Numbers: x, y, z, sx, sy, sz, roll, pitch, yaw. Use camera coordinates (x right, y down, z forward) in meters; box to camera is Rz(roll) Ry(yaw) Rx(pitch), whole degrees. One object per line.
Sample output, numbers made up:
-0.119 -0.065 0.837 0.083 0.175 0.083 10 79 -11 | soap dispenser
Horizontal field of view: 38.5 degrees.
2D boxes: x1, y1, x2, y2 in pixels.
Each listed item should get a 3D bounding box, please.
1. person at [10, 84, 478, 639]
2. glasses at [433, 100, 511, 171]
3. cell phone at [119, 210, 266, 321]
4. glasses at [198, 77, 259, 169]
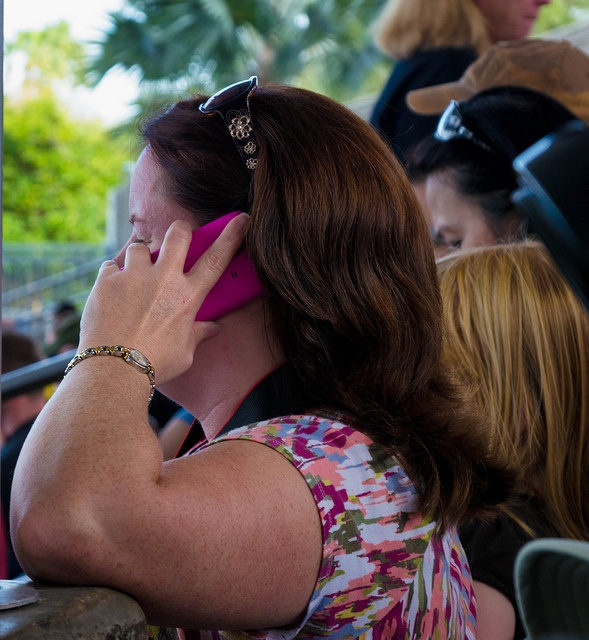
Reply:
-0.056 0.094 1.138 0.694 0.784 0.432 -12 19 -24 | person
0.366 -0.376 1.739 0.157 0.094 0.055 30 24 -6 | glasses
-0.135 -0.071 1.182 0.165 0.082 0.017 -20 -9 27 | cell phone
-0.091 -0.297 1.265 0.079 0.141 0.040 -29 -6 -12 | glasses
